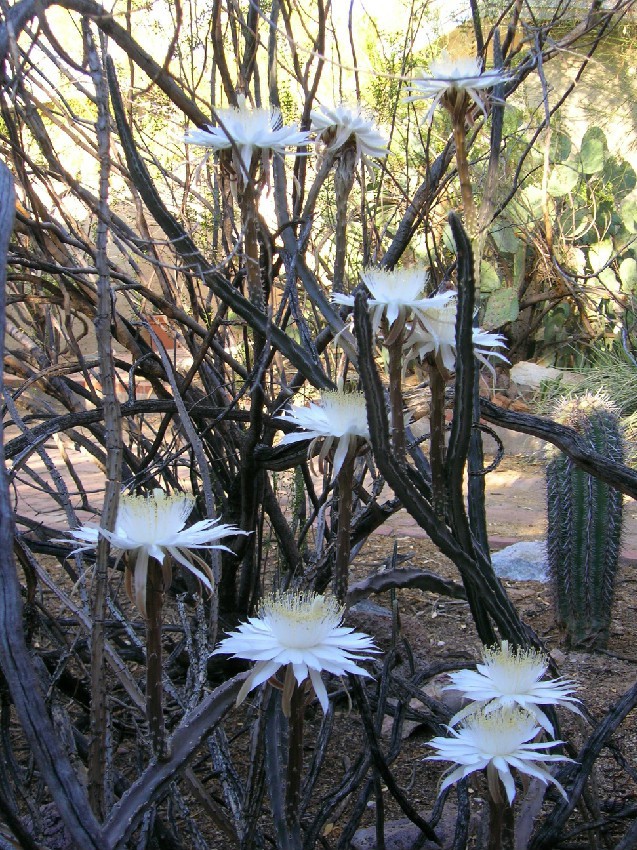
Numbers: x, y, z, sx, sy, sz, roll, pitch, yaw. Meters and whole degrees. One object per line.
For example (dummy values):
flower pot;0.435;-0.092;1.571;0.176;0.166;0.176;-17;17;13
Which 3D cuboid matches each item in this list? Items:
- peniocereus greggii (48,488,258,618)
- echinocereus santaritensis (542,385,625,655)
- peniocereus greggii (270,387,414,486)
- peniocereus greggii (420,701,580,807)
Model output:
peniocereus greggii;-0.135;0.099;0.698;0.148;0.099;0.143;1;-2;-19
echinocereus santaritensis;0.586;0.282;1.963;0.192;0.513;0.183;0;-1;-10
peniocereus greggii;0.009;0.007;0.845;0.097;0.050;0.094;-4;11;-40
peniocereus greggii;0.136;0.246;0.687;0.096;0.113;0.134;0;8;16
